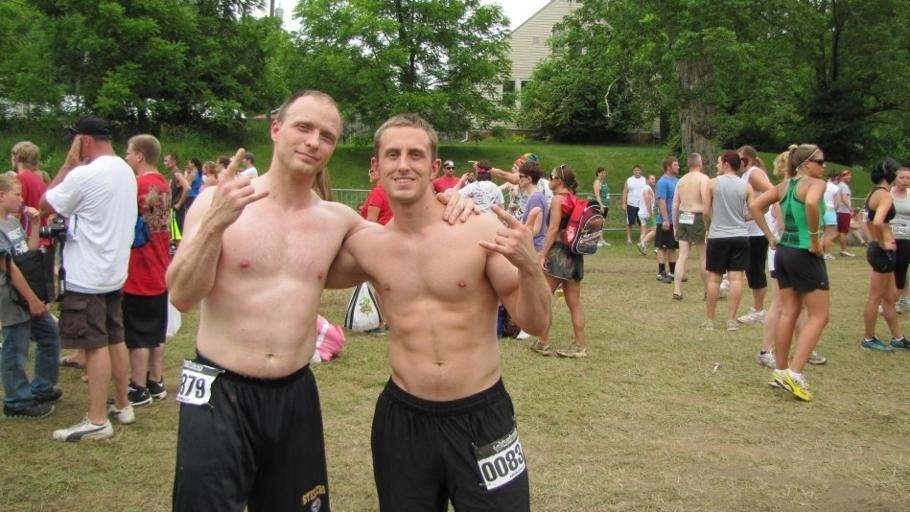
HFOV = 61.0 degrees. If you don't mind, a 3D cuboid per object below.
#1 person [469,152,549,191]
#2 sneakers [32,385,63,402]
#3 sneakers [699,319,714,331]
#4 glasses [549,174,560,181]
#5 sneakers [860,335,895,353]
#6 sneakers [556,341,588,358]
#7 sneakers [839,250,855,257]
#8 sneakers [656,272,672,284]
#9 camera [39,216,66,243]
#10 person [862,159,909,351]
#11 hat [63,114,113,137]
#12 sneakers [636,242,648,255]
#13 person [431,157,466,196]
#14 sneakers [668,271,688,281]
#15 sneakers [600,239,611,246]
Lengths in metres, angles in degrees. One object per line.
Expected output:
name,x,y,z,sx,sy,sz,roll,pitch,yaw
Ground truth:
person,1.226,-1.976,17.025,1.431,0.468,0.967,-11,21,-23
sneakers,-6.935,2.343,13.201,0.512,0.232,0.173,-6,31,-22
sneakers,5.220,1.422,16.003,0.162,0.193,0.296,0,8,-9
glasses,1.926,-1.538,15.017,0.140,0.065,0.105,3,-2,-7
sneakers,8.255,1.723,15.144,0.545,0.213,0.267,2,9,24
sneakers,2.246,1.836,14.986,0.608,0.254,0.248,1,-11,1
sneakers,11.544,-0.081,22.586,0.551,0.225,0.184,1,9,25
sneakers,5.235,0.554,19.350,0.161,0.179,0.438,-18,13,-28
camera,-6.613,-0.450,12.688,0.531,0.295,0.502,-3,7,-14
person,8.491,-0.040,15.173,0.825,3.747,0.926,3,7,33
hat,-6.112,-2.165,12.784,0.592,0.280,0.434,17,21,27
sneakers,5.557,-0.203,22.837,0.238,0.518,0.183,-35,37,15
person,-0.138,-1.787,17.729,1.214,0.776,0.421,-4,7,-21
sneakers,5.691,0.515,19.423,0.695,0.269,0.226,-1,3,3
sneakers,4.681,-0.409,24.151,0.232,0.246,0.597,-2,-1,-25
